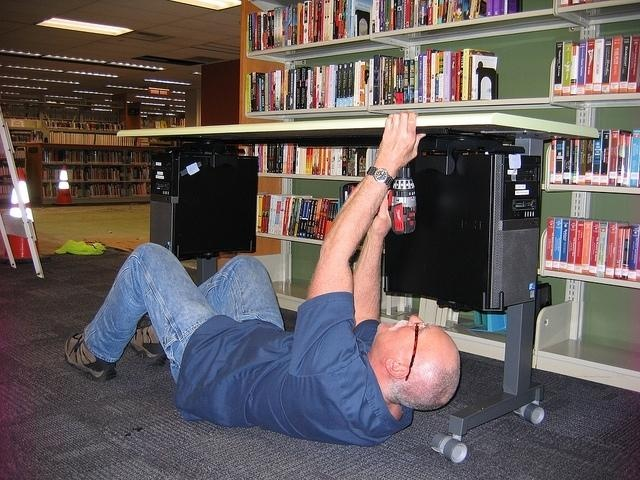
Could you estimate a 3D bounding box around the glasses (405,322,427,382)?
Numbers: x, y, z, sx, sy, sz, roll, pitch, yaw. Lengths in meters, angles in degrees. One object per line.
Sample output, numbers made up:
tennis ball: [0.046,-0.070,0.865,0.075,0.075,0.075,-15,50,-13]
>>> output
glasses: [0.280,0.330,1.386,0.038,0.132,0.125,11,0,-3]

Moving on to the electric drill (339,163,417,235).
electric drill: [0.249,-0.182,1.804,0.095,0.299,0.295,-8,8,-36]

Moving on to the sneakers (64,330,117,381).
sneakers: [-1.194,0.553,2.473,0.376,0.213,0.149,26,20,32]

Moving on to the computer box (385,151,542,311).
computer box: [0.539,-0.065,2.288,0.648,0.673,0.913,5,5,16]
